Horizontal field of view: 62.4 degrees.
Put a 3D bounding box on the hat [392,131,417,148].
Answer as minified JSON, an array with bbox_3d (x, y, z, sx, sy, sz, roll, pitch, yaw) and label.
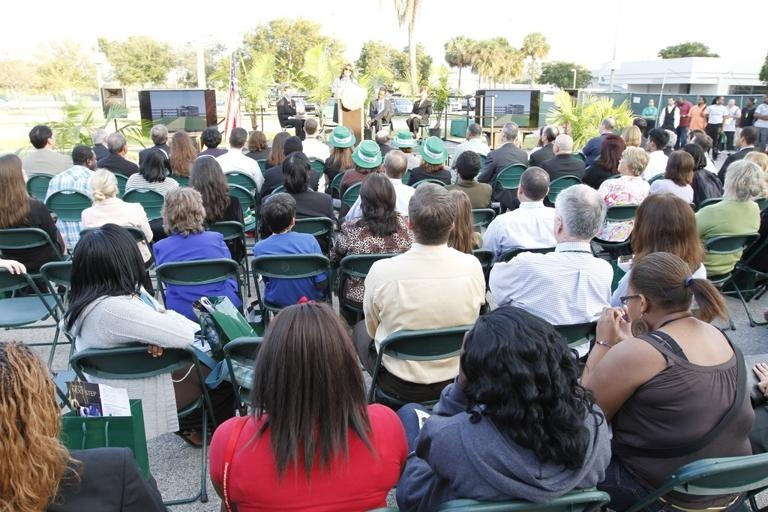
[{"bbox_3d":[0.310,-1.848,10.112,0.522,0.239,0.599,1,22,-4],"label":"hat"}]

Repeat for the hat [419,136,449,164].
[{"bbox_3d":[0.522,-1.246,7.419,0.290,0.329,0.112,4,-29,-23],"label":"hat"}]

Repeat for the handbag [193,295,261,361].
[{"bbox_3d":[-0.995,0.447,3.919,0.197,0.340,0.188,-45,-10,36],"label":"handbag"}]

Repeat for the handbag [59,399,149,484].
[{"bbox_3d":[-1.394,0.947,2.989,0.331,0.314,0.250,-9,5,27],"label":"handbag"}]
